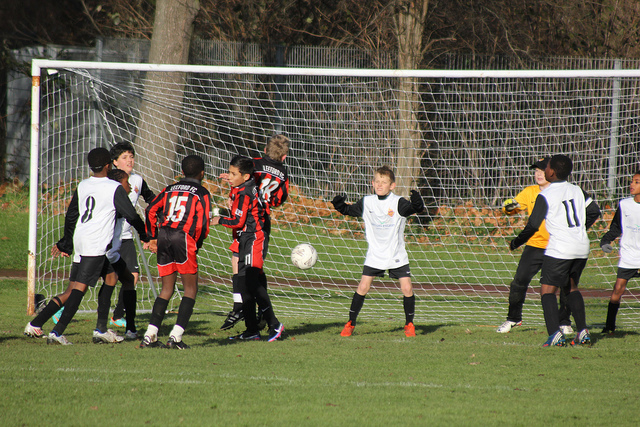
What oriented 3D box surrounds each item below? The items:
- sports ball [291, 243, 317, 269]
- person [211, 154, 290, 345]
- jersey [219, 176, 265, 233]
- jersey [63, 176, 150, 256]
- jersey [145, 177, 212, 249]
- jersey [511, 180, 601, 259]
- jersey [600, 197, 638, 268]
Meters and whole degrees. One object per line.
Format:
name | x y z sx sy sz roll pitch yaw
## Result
sports ball | -0.293 0.826 16.785 0.433 0.448 0.274 2 13 -3
person | -1.244 0.676 16.089 1.091 3.265 1.188 0 13 -8
jersey | -1.358 -0.178 16.187 0.778 0.990 1.171 5 19 6
jersey | -3.780 0.057 15.678 1.591 1.398 0.767 2 8 2
jersey | -2.410 -0.009 15.573 1.119 1.205 0.612 8 -1 7
jersey | 4.124 0.084 16.103 1.482 1.348 1.236 -6 9 -21
jersey | 5.501 0.337 16.602 0.653 1.264 0.413 6 13 16
